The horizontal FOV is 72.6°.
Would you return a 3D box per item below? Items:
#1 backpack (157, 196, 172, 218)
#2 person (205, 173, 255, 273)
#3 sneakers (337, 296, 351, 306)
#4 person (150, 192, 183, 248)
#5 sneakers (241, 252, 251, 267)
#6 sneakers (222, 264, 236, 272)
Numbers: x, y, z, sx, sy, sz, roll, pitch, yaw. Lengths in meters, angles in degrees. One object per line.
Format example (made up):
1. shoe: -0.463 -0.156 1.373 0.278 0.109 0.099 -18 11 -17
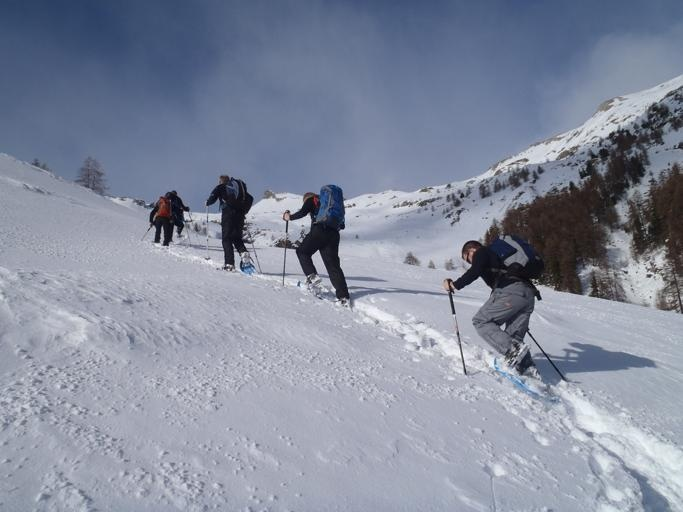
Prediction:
1. backpack: -5.415 -1.515 14.316 0.300 0.664 0.593 1 -5 30
2. person: -2.696 -0.846 11.543 1.085 2.434 1.058 5 -5 -17
3. sneakers: 0.083 0.977 9.521 0.155 0.189 0.206 31 9 -32
4. person: -5.473 -1.091 14.551 0.876 1.746 0.575 21 -35 -40
5. sneakers: -2.318 0.079 11.332 0.192 0.332 0.284 -19 -15 29
6. sneakers: -2.665 0.277 11.110 0.136 0.155 0.346 1 8 -25
